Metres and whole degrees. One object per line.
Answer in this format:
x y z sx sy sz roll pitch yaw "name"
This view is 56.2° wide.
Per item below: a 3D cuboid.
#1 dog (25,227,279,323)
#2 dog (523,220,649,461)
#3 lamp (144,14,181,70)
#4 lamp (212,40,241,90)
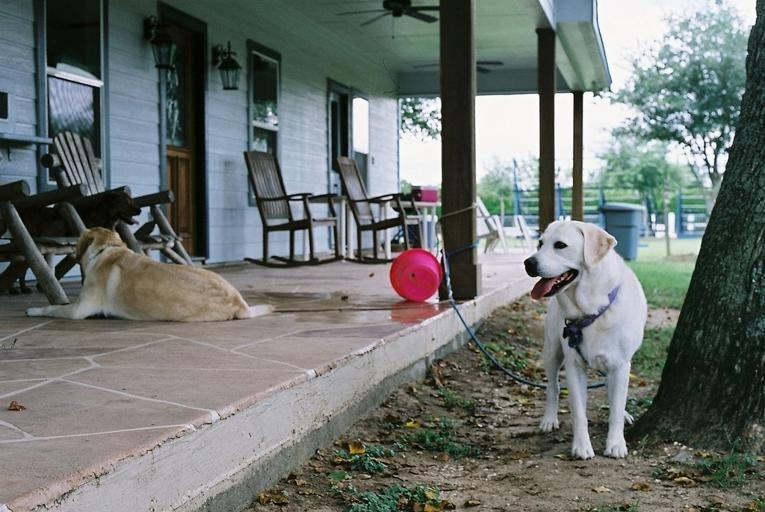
-1.718 0.182 5.526 1.291 0.525 0.793 3 -4 6 "dog"
1.222 0.516 4.385 0.692 1.438 0.548 7 12 20 "dog"
-2.587 -2.474 8.305 0.313 0.607 0.303 10 13 30 "lamp"
-2.063 -2.520 9.485 0.337 0.656 0.460 4 11 6 "lamp"
